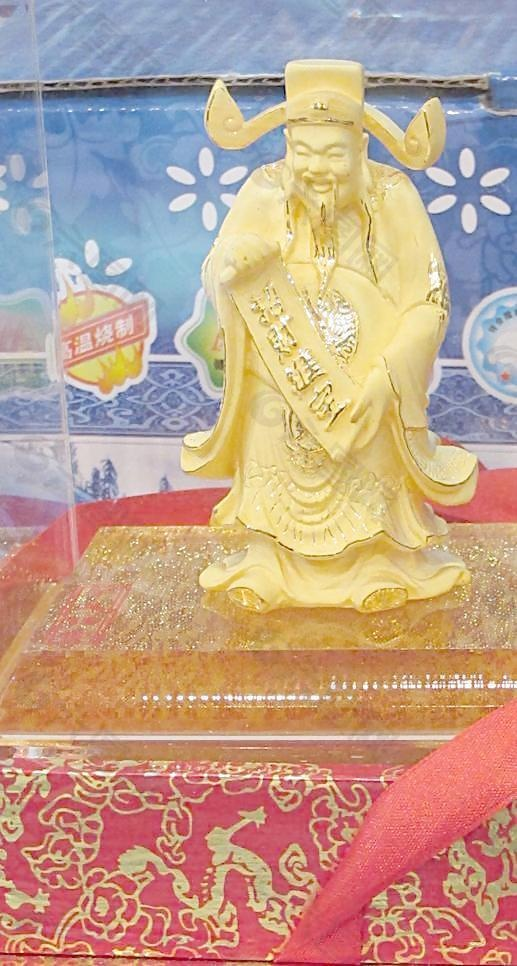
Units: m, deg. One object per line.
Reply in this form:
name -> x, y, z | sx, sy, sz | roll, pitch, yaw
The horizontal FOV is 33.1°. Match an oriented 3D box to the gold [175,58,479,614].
gold -> 0.133, -0.265, 1.765 | 0.606, 1.077, 0.317 | -5, 21, -6
